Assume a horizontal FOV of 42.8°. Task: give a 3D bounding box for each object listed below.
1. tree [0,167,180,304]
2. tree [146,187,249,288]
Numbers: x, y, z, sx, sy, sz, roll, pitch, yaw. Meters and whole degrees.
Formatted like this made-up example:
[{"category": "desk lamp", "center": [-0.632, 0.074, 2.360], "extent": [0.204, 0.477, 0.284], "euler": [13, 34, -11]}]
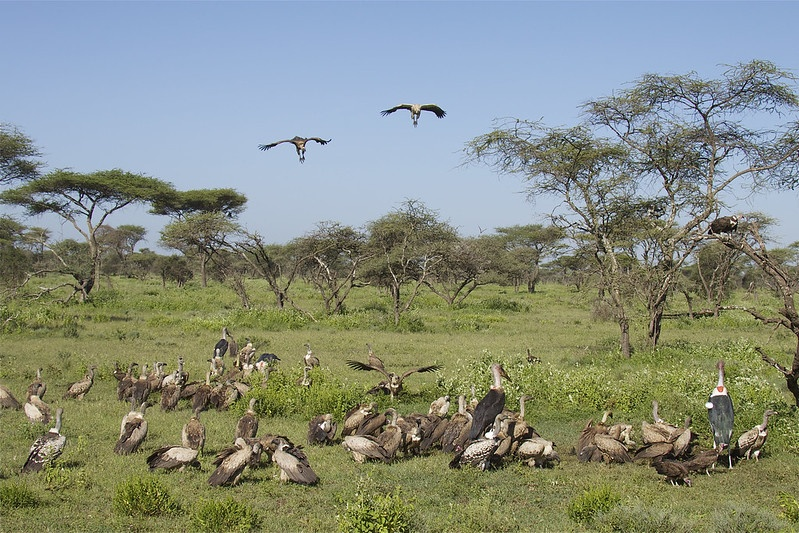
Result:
[{"category": "tree", "center": [-18.084, -1.438, 58.885], "extent": [8.395, 7.122, 8.307], "euler": [0, 3, -27]}, {"category": "tree", "center": [-12.933, -1.900, 65.203], "extent": [7.328, 6.837, 6.440], "euler": [-2, -4, 3]}]
